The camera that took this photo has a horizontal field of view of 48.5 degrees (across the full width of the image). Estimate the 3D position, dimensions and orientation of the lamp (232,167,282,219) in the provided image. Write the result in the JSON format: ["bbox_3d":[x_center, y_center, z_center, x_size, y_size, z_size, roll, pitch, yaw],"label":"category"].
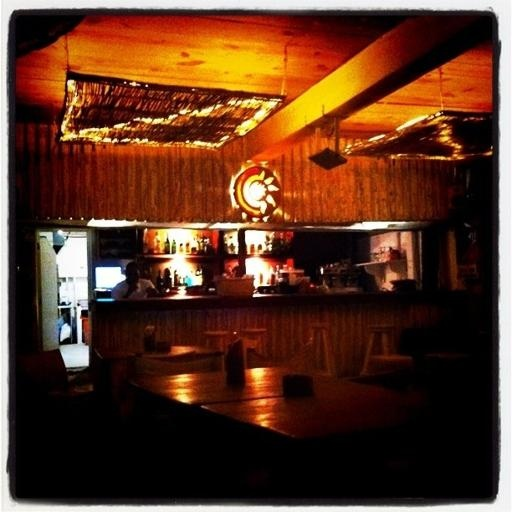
[{"bbox_3d":[-0.008,-0.792,7.142,0.645,0.663,0.230,3,-10,-36],"label":"lamp"}]

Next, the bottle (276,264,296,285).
[{"bbox_3d":[0.371,0.239,7.036,0.186,0.254,0.356,0,1,-9],"label":"bottle"}]
